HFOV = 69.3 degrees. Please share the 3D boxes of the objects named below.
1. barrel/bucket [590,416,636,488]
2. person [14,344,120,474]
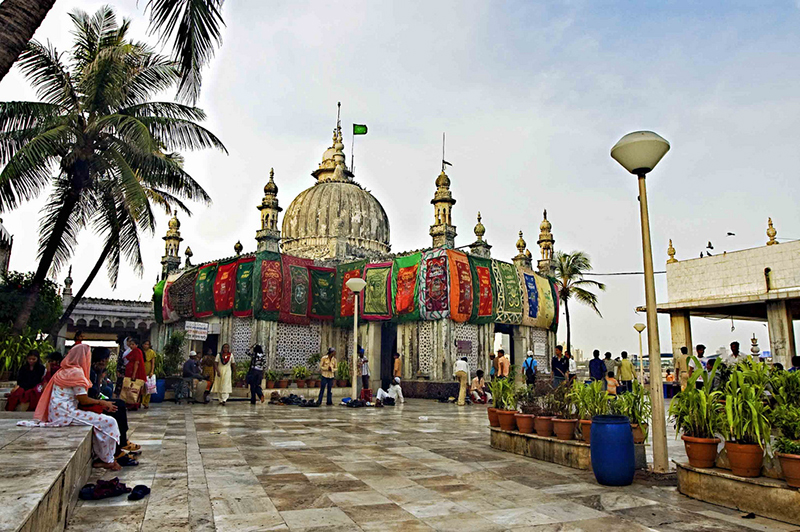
[{"bbox_3d":[2.954,2.586,8.082,0.563,0.939,0.258,-2,-12,16],"label":"barrel/bucket"},{"bbox_3d":[-4.556,1.981,8.169,1.190,1.723,0.488,1,-12,4],"label":"person"}]
